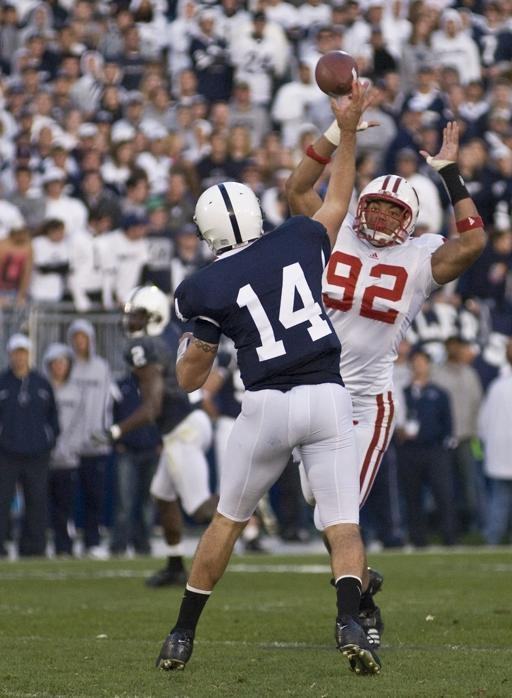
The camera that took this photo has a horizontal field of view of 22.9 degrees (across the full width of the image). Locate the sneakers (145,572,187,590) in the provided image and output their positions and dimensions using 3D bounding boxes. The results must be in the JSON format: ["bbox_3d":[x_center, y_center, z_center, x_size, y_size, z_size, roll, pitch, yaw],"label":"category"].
[{"bbox_3d":[-0.472,1.249,6.831,0.249,0.098,0.083,7,-11,-18],"label":"sneakers"}]

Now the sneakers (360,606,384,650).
[{"bbox_3d":[0.435,1.012,4.566,0.057,0.074,0.170,-11,28,1],"label":"sneakers"}]

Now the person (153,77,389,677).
[{"bbox_3d":[0.030,0.102,4.214,0.685,1.694,1.026,0,20,5],"label":"person"}]

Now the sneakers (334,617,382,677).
[{"bbox_3d":[0.336,0.942,3.920,0.083,0.241,0.124,-19,43,13],"label":"sneakers"}]

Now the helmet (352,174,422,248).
[{"bbox_3d":[0.524,-0.535,4.875,0.213,0.250,0.293,9,8,18],"label":"helmet"}]

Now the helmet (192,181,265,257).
[{"bbox_3d":[-0.092,-0.456,4.399,0.210,0.217,0.261,-19,12,1],"label":"helmet"}]

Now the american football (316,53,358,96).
[{"bbox_3d":[0.332,-1.071,4.832,0.157,0.179,0.151,-3,6,-20],"label":"american football"}]

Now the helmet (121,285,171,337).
[{"bbox_3d":[-0.672,-0.222,7.559,0.306,0.307,0.243,-5,-13,-8],"label":"helmet"}]

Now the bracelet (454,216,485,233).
[{"bbox_3d":[0.796,-0.464,4.632,0.096,0.075,0.150,1,19,9],"label":"bracelet"}]

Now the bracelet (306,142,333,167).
[{"bbox_3d":[0.233,-0.713,4.561,0.071,0.033,0.080,26,7,-47],"label":"bracelet"}]

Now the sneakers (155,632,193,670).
[{"bbox_3d":[-0.266,0.986,4.125,0.119,0.111,0.100,-1,20,2],"label":"sneakers"}]
